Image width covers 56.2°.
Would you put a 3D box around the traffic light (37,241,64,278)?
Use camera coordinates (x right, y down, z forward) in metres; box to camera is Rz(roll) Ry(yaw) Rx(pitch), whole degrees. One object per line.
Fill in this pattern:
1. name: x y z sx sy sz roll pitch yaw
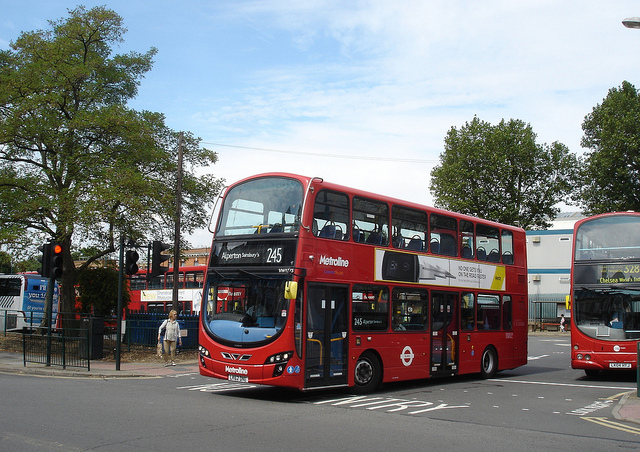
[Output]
1. traffic light: -10.213 1.284 22.719 0.786 1.378 1.218 1 -3 -28

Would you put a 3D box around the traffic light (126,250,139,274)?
1. traffic light: -7.092 1.372 22.556 0.397 0.902 0.518 1 -2 -14

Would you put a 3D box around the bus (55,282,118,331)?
1. bus: -14.602 5.123 37.476 1.873 3.137 5.926 3 -3 -34

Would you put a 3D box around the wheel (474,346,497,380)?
1. wheel: 6.187 5.156 22.576 0.424 1.253 1.231 -5 -14 40

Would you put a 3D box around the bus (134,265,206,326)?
1. bus: -12.761 5.910 53.738 7.491 3.733 1.992 1 -19 -37

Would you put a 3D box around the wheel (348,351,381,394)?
1. wheel: 1.255 4.359 17.789 0.422 1.240 1.197 -9 3 41

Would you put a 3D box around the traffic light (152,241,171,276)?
1. traffic light: -6.213 1.049 23.613 0.539 0.342 1.107 10 -44 -8
